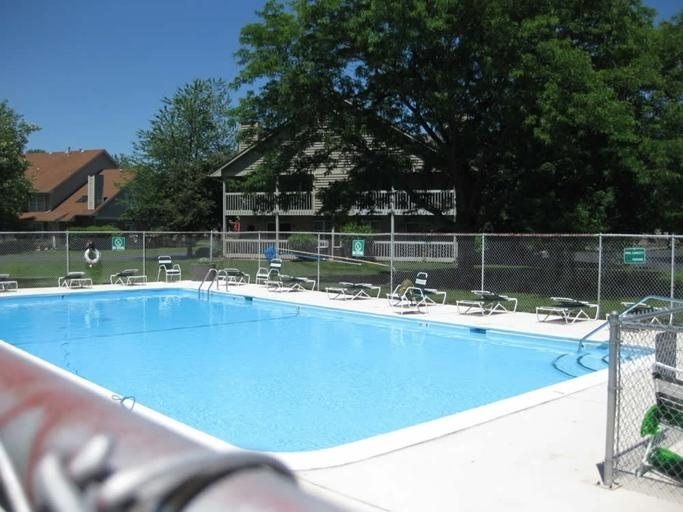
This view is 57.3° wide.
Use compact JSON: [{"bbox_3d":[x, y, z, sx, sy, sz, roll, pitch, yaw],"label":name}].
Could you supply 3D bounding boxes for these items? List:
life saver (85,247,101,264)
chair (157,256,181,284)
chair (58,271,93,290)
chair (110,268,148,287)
[{"bbox_3d":[-8.614,0.016,21.652,0.410,0.595,0.212,10,-26,-30],"label":"life saver"},{"bbox_3d":[-6.956,0.580,25.583,0.861,1.496,1.569,-1,0,-28],"label":"chair"},{"bbox_3d":[-9.230,0.887,21.839,0.682,0.546,1.269,1,1,-31],"label":"chair"},{"bbox_3d":[-7.956,0.866,23.361,0.771,0.549,1.406,0,3,-38],"label":"chair"}]
